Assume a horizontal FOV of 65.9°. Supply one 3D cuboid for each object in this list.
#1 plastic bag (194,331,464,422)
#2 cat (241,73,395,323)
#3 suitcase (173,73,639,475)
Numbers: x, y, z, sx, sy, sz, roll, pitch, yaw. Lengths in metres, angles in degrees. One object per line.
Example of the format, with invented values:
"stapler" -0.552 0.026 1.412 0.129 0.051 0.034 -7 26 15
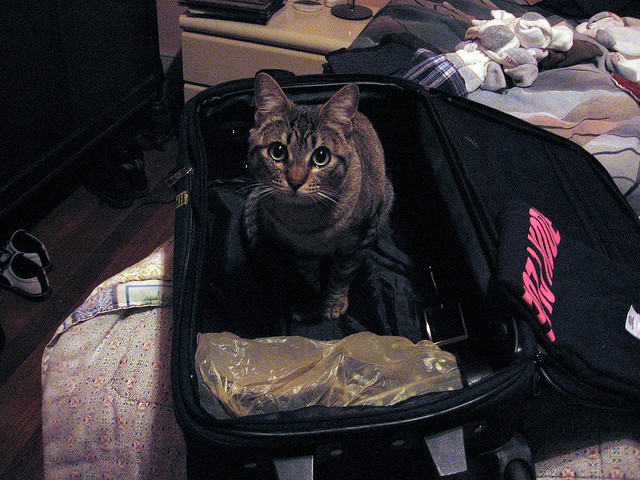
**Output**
"plastic bag" 0.004 0.222 0.855 0.326 0.075 0.189 0 19 -10
"cat" -0.010 -0.125 1.124 0.311 0.518 0.493 9 38 9
"suitcase" 0.138 0.087 0.985 0.737 0.269 0.882 -1 47 0
